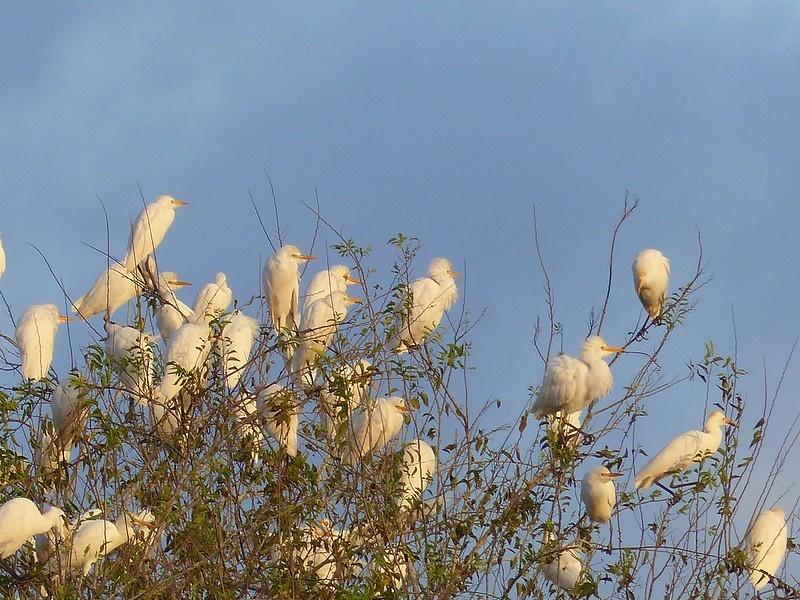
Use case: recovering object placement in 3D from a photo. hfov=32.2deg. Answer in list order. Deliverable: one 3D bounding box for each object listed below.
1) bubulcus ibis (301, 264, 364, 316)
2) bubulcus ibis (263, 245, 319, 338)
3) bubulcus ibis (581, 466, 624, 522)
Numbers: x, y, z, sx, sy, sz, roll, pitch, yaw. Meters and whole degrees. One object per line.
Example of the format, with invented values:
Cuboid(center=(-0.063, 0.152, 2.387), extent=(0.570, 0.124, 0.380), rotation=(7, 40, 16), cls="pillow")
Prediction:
Cuboid(center=(-0.621, -0.118, 12.686), extent=(0.552, 0.320, 0.478), rotation=(8, -55, 2), cls="bubulcus ibis")
Cuboid(center=(-0.900, -0.033, 11.388), extent=(0.496, 0.293, 0.774), rotation=(-19, -55, -21), cls="bubulcus ibis")
Cuboid(center=(1.718, 1.655, 11.802), extent=(0.264, 0.547, 0.719), rotation=(1, -2, 9), cls="bubulcus ibis")
